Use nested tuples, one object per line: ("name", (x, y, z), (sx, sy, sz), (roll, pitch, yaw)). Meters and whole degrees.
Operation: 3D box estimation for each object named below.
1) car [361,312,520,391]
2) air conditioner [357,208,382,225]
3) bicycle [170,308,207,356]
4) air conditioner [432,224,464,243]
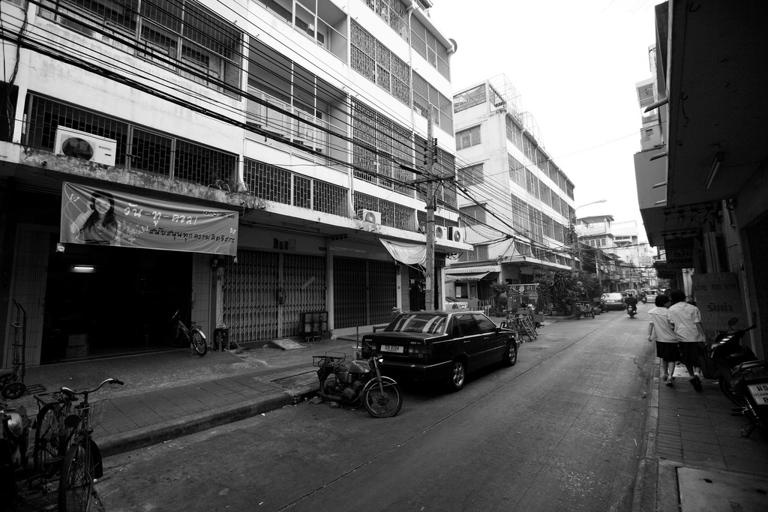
("car", (1.541, 2.381, 14.001), (1.890, 1.800, 4.814), (-1, -2, 24))
("air conditioner", (-0.564, -1.490, 20.771), (0.309, 0.544, 1.297), (-10, -11, 35))
("bicycle", (-6.062, 2.408, 17.072), (1.658, 1.155, 0.862), (10, 1, 37))
("air conditioner", (3.015, -1.137, 25.831), (0.301, 0.928, 2.945), (-9, -11, 31))
